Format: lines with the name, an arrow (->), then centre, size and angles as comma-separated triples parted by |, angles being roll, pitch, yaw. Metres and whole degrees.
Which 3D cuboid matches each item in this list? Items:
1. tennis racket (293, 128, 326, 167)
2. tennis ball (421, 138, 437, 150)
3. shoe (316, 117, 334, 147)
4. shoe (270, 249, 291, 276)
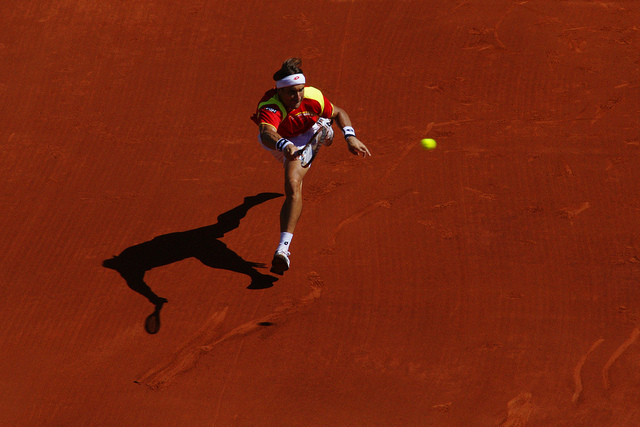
tennis racket -> -0.103, -0.857, 12.476 | 0.216, 0.117, 0.801 | 34, 39, -9
tennis ball -> 1.705, -1.066, 14.107 | 0.242, 0.107, 0.274 | 1, 39, 1
shoe -> 0.076, -1.103, 12.676 | 0.145, 0.446, 0.199 | 5, 44, 8
shoe -> -0.526, 0.674, 12.196 | 0.168, 0.347, 0.343 | 10, 38, 3
